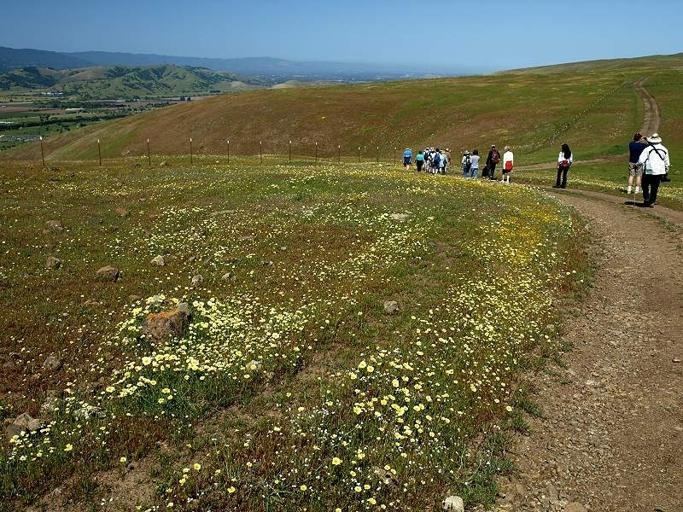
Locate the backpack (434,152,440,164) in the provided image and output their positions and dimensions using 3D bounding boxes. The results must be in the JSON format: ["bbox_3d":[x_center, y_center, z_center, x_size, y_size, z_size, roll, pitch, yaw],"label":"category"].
[{"bbox_3d":[9.213,-9.470,44.634,0.332,0.942,0.634,2,2,3],"label":"backpack"}]
